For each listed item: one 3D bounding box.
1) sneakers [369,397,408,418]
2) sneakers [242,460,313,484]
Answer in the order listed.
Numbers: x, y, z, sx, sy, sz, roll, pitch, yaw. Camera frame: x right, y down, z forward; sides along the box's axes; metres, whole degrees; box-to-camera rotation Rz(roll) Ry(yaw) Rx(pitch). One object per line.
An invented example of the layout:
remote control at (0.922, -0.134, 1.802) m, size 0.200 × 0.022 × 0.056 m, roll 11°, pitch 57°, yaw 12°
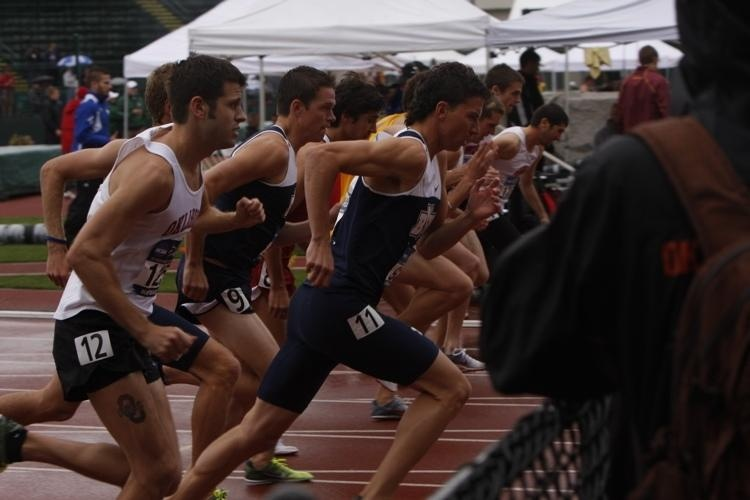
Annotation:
sneakers at (0.101, 1.108, 5.404) m, size 0.302 × 0.132 × 0.107 m, roll 0°, pitch -2°, yaw -3°
sneakers at (-0.550, 1.254, 4.391) m, size 0.419 × 0.173 × 0.149 m, roll 1°, pitch 0°, yaw -10°
